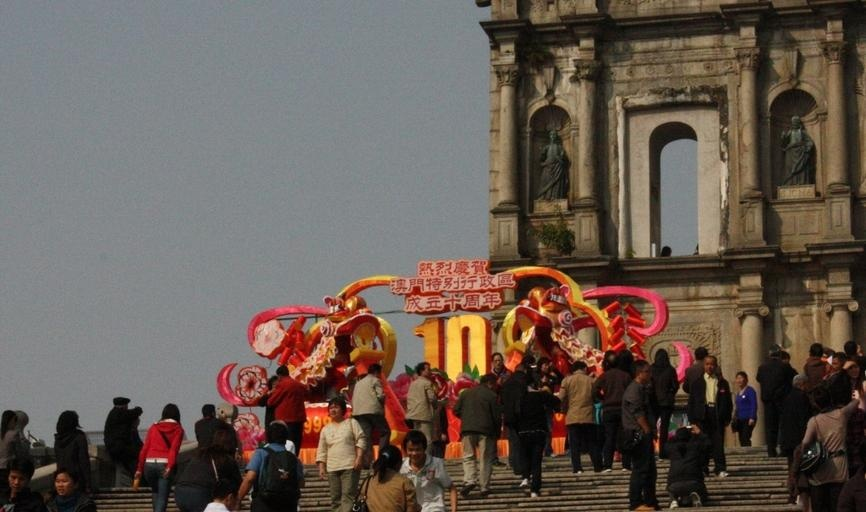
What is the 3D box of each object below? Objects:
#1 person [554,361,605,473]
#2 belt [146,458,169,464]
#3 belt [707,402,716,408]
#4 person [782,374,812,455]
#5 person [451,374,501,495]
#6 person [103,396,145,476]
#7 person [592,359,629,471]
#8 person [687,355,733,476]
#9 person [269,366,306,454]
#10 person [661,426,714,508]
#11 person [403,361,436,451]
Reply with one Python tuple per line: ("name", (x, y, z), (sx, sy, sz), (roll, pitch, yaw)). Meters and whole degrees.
("person", (3.596, 3.815, 56.380), (0.928, 2.831, 0.869), (3, 1, 3))
("belt", (-6.484, 4.756, 54.312), (0.479, 0.129, 0.086), (-1, -7, -4))
("belt", (6.637, 3.527, 55.331), (0.158, 0.123, 0.034), (0, -12, 2))
("person", (8.483, 3.739, 54.217), (0.461, 2.457, 0.363), (2, -1, -4))
("person", (1.068, 4.172, 55.082), (0.828, 2.822, 0.824), (1, -1, 9))
("person", (-7.571, 4.532, 57.050), (1.159, 2.076, 1.080), (0, 9, 23))
("person", (4.335, 3.663, 55.559), (0.759, 2.840, 0.584), (1, 1, 2))
("person", (6.613, 3.596, 55.322), (0.855, 3.260, 0.738), (1, 1, 4))
("person", (-3.493, 3.581, 56.876), (1.013, 3.416, 0.942), (0, -1, 6))
("person", (5.934, 4.826, 53.798), (0.927, 1.812, 0.826), (1, 1, 4))
("person", (-0.189, 3.893, 56.618), (0.927, 2.468, 0.938), (1, -2, -41))
